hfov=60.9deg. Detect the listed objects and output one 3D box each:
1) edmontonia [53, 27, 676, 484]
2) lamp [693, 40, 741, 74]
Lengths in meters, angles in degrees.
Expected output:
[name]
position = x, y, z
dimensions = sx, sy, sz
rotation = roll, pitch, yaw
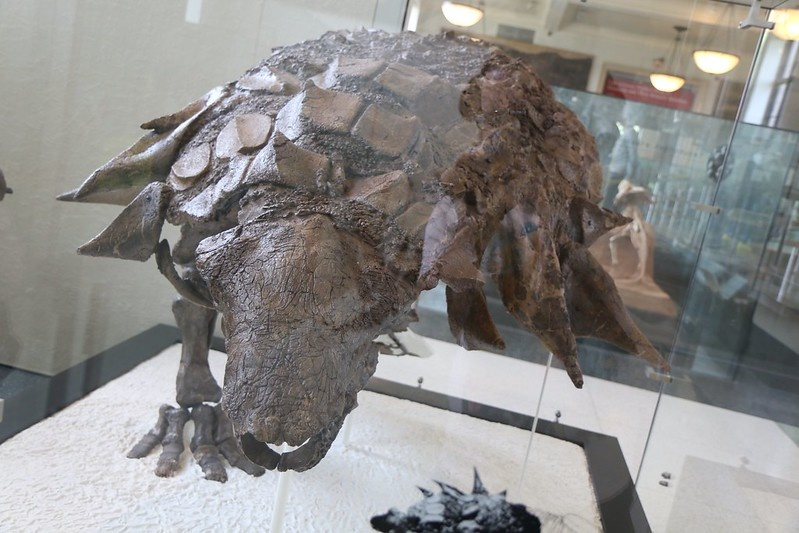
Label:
[edmontonia]
position = -0.105, 0.281, 2.886
dimensions = 2.175, 1.355, 1.670
rotation = 6, 38, 9
[lamp]
position = 1.409, -0.919, 3.044
dimensions = 0.247, 0.112, 0.055
rotation = 3, 22, -29
